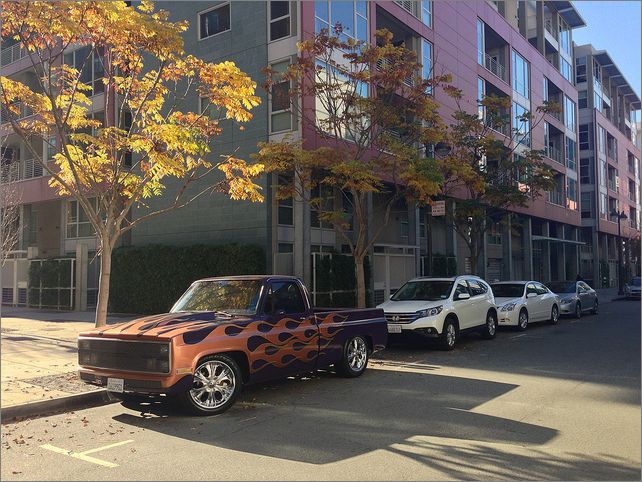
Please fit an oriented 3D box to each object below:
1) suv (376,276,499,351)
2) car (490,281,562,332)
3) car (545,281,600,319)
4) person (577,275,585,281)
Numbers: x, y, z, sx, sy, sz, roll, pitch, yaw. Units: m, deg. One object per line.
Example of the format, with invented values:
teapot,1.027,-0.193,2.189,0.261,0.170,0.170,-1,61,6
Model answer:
suv,3.431,2.034,18.401,2.195,2.027,4.399,3,6,43
car,7.169,2.198,22.170,1.389,1.117,2.970,-7,-12,38
car,10.720,2.415,26.758,1.201,0.919,2.615,-7,-11,38
person,18.126,2.487,43.711,0.418,0.471,0.782,-2,-4,21
